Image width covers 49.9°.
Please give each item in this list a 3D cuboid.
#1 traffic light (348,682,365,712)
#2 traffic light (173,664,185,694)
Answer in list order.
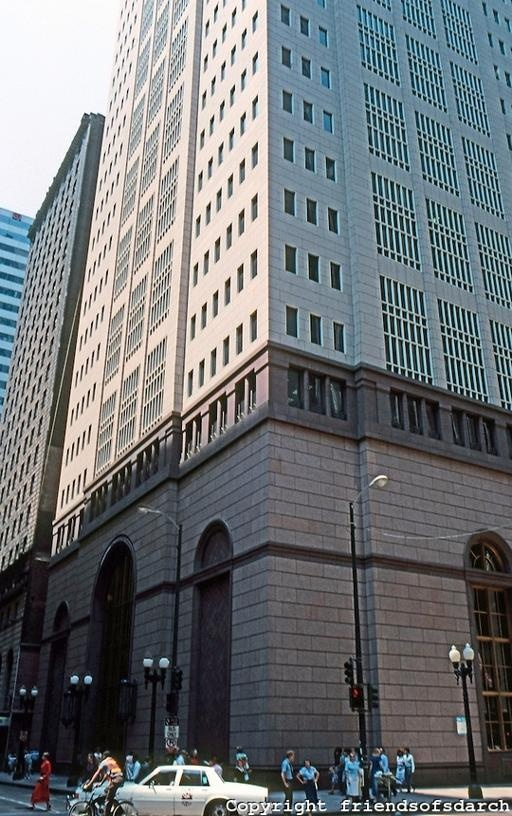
[{"bbox_3d":[2.524,7.310,13.792,0.302,0.602,0.559,-2,-23,3],"label":"traffic light"},{"bbox_3d":[-2.626,9.054,18.270,0.310,0.762,2.059,3,-25,-9],"label":"traffic light"}]
